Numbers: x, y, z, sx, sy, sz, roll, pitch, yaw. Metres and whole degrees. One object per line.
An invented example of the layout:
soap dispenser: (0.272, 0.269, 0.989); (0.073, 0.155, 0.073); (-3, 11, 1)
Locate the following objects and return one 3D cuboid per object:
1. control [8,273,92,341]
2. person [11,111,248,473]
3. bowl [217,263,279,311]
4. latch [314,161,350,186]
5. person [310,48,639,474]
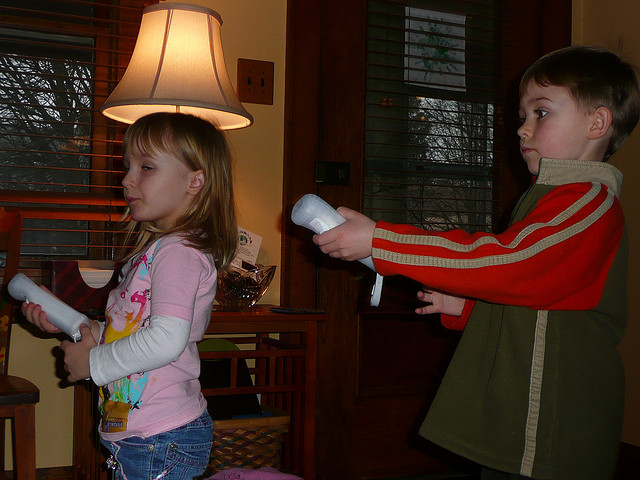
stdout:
control: (-0.699, 0.163, 1.477); (0.197, 0.062, 0.195); (39, -2, -25)
person: (-0.374, 0.109, 1.288); (0.293, 0.800, 0.364); (-1, 4, 9)
bowl: (-0.257, 0.163, 1.991); (0.218, 0.156, 0.173); (4, -11, -12)
latch: (0.046, -0.261, 2.228); (0.162, 0.103, 0.087); (0, 3, -8)
person: (0.464, 0.098, 1.662); (0.958, 1.304, 0.643); (3, -5, 8)
